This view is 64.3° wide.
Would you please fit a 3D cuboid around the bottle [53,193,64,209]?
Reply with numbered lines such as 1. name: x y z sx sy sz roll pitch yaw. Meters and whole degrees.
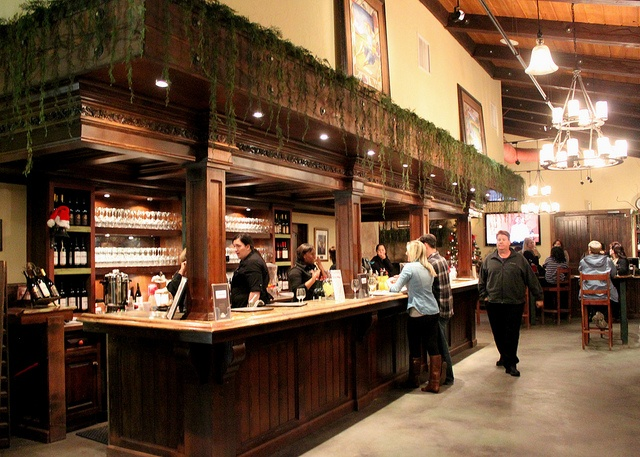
1. bottle: -3.516 -0.376 6.883 0.088 0.204 0.278 -1 -1 -3

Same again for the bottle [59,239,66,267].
1. bottle: -3.474 0.346 6.894 0.089 0.343 0.227 -1 -1 -27

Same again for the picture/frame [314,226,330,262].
1. picture/frame: 0.014 0.347 11.301 0.032 0.886 0.699 -3 -4 24

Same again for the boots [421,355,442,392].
1. boots: 1.635 2.106 7.452 0.254 0.385 0.208 -2 -1 33

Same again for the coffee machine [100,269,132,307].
1. coffee machine: -2.536 0.745 6.176 0.348 0.520 0.397 3 4 29

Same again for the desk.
1. desk: -3.497 1.773 6.228 0.778 1.577 0.337 -1 -1 0

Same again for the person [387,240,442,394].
1. person: 1.444 1.295 7.534 0.651 1.525 0.682 -1 -1 16

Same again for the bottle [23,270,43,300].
1. bottle: -3.561 0.704 6.309 0.305 0.374 0.103 -2 -1 28

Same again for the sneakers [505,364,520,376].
1. sneakers: 3.076 2.261 8.088 0.102 0.177 0.226 5 -10 -31

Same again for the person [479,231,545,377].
1. person: 3.040 1.193 8.217 0.906 1.872 0.458 -1 -1 19

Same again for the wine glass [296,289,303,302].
1. wine glass: -0.248 0.802 6.224 0.089 0.153 0.130 -1 -1 23

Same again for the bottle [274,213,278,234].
1. bottle: -0.851 -0.098 10.015 0.087 0.412 0.367 -1 -1 -3

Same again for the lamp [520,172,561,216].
1. lamp: 6.753 -1.024 15.534 1.310 1.651 1.395 1 1 29

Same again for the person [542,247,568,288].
1. person: 5.994 0.996 13.104 0.512 0.862 0.585 -1 -1 -38

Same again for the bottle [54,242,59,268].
1. bottle: -3.521 0.355 6.801 0.063 0.313 0.279 -1 -1 -26
